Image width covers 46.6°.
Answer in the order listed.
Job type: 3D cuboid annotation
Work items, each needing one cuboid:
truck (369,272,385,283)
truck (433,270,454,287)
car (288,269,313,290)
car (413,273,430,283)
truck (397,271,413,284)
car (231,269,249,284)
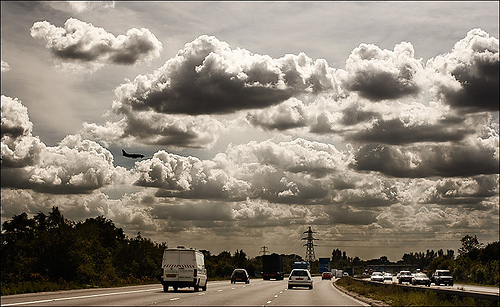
[{"bbox_3d":[24.338,23.581,112.686,2.226,1.701,4.977,-2,-16,1],"label":"truck"},{"bbox_3d":[30.341,19.497,92.644,1.777,1.556,3.151,0,-14,1],"label":"truck"},{"bbox_3d":[6.608,16.220,78.783,3.102,2.516,5.825,1,1,7],"label":"car"},{"bbox_3d":[27.282,19.853,93.952,1.714,1.501,2.776,2,-13,-10],"label":"car"},{"bbox_3d":[28.925,23.091,109.948,1.948,1.487,3.480,-1,-13,4],"label":"truck"},{"bbox_3d":[-1.676,20.650,98.828,2.797,2.197,2.142,1,-12,-3],"label":"car"}]
